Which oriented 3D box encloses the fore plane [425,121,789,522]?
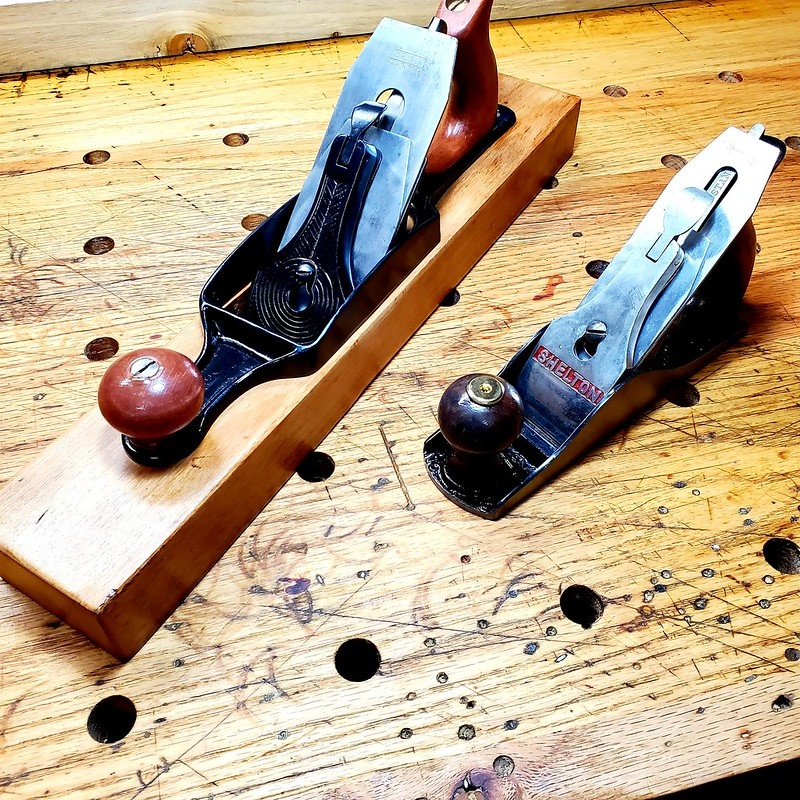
[{"bbox_3d":[0.348,-0.115,1.471,0.953,0.458,0.221,-28,56,-13],"label":"fore plane"}]
